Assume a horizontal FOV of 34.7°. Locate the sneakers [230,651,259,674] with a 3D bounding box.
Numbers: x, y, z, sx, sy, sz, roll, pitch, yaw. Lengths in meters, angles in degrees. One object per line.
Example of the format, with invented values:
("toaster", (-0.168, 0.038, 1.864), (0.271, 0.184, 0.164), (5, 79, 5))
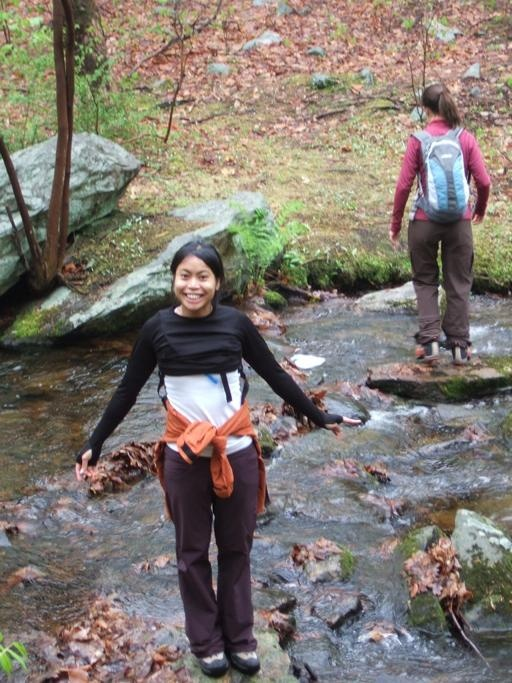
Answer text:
("sneakers", (-0.076, 1.705, 4.442), (0.081, 0.082, 0.181), (-3, 4, -40))
